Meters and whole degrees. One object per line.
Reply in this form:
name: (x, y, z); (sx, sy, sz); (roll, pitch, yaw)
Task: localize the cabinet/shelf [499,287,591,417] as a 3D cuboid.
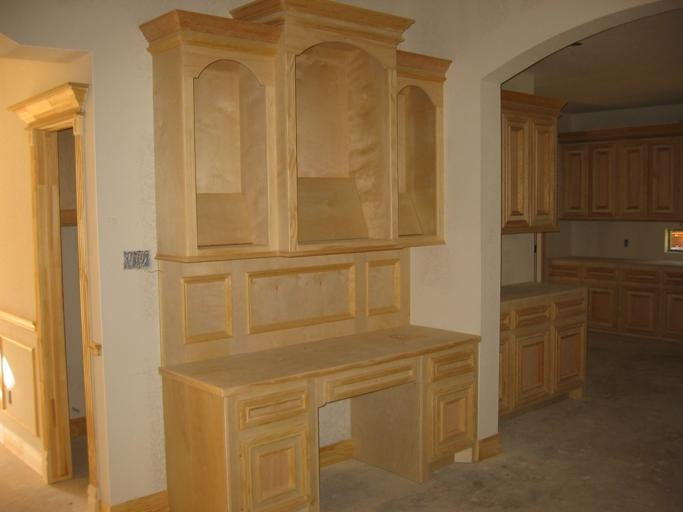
cabinet/shelf: (1.785, 0.847, 4.984); (0.426, 0.957, 1.123); (1, 4, 43)
